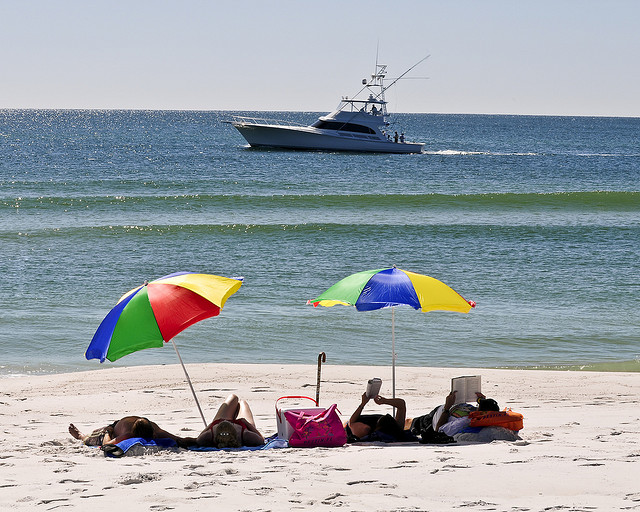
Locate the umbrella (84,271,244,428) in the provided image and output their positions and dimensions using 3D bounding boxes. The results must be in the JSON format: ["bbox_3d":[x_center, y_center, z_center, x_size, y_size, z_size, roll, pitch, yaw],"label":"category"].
[{"bbox_3d":[-2.944,2.086,32.006,3.613,3.340,3.069,-21,17,10],"label":"umbrella"}]

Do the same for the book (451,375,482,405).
[{"bbox_3d":[3.112,2.855,31.089,0.799,0.554,0.073,-1,1,-8],"label":"book"}]

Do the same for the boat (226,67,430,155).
[{"bbox_3d":[0.753,-7.179,76.293,11.328,3.815,3.402,3,0,-18],"label":"boat"}]

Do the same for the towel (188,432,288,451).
[{"bbox_3d":[-1.599,3.938,30.842,1.868,0.336,0.522,1,0,-4],"label":"towel"}]

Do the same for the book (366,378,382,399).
[{"bbox_3d":[1.151,2.828,31.118,0.301,0.414,0.281,1,0,2],"label":"book"}]
